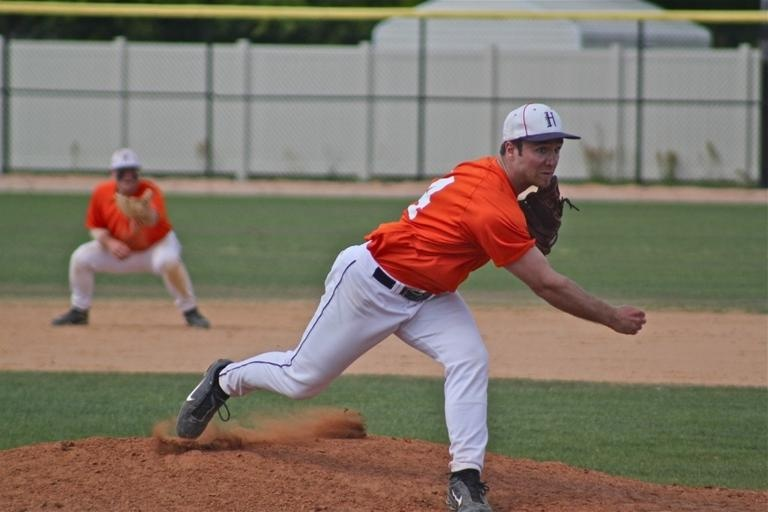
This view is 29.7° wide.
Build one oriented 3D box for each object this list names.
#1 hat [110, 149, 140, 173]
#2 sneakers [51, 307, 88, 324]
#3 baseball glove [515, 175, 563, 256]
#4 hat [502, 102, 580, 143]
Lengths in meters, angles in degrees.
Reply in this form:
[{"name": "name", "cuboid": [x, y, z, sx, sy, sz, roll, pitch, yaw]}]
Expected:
[{"name": "hat", "cuboid": [-2.749, -0.997, 15.416, 0.310, 0.223, 0.191, 0, 4, -15]}, {"name": "sneakers", "cuboid": [-3.336, 0.645, 15.318, 0.386, 0.176, 0.147, 4, -2, -8]}, {"name": "baseball glove", "cuboid": [1.558, -0.350, 13.825, 0.456, 0.726, 0.356, 13, -9, -27]}, {"name": "hat", "cuboid": [1.382, -1.181, 13.155, 0.610, 0.358, 0.215, 1, 4, 5]}]
